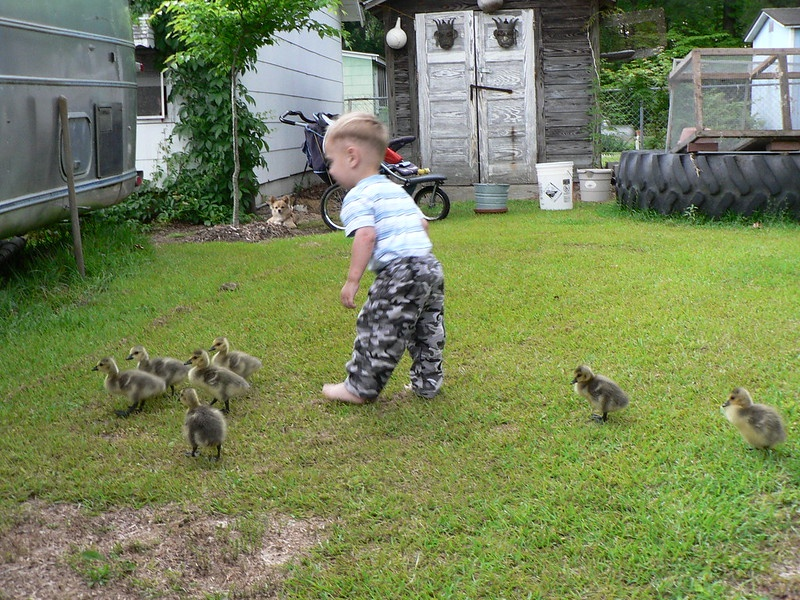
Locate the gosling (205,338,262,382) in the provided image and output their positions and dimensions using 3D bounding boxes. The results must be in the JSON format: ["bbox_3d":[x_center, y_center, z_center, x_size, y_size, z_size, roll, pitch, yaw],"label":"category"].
[{"bbox_3d":[-1.139,0.407,4.807,0.383,0.295,0.224,3,7,-26],"label":"gosling"}]

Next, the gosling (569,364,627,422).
[{"bbox_3d":[1.234,0.580,4.251,0.361,0.312,0.220,2,5,9],"label":"gosling"}]

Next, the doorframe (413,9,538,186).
[{"bbox_3d":[1.399,-3.648,12.571,2.139,3.058,0.371,-2,11,3],"label":"doorframe"}]

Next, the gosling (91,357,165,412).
[{"bbox_3d":[-1.767,0.562,4.560,0.450,0.365,0.215,-1,7,-4],"label":"gosling"}]

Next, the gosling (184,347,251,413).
[{"bbox_3d":[-1.168,0.518,4.519,0.422,0.403,0.225,-2,7,-13],"label":"gosling"}]

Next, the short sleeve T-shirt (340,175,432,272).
[{"bbox_3d":[-0.065,-0.471,4.446,0.506,0.738,0.793,-2,4,20],"label":"short sleeve T-shirt"}]

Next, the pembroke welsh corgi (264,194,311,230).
[{"bbox_3d":[-1.754,-1.340,10.723,0.421,0.503,1.018,-1,2,11],"label":"pembroke welsh corgi"}]

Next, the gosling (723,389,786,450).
[{"bbox_3d":[1.970,0.666,3.850,0.339,0.357,0.240,-4,-1,1],"label":"gosling"}]

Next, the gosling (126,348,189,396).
[{"bbox_3d":[-1.648,0.489,4.777,0.450,0.331,0.194,-1,6,-9],"label":"gosling"}]

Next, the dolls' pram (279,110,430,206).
[{"bbox_3d":[-0.717,-2.362,10.595,2.646,1.388,1.420,3,27,6],"label":"dolls' pram"}]

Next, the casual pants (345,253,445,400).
[{"bbox_3d":[-0.015,0.190,4.348,0.709,0.958,0.424,-15,32,-41],"label":"casual pants"}]
